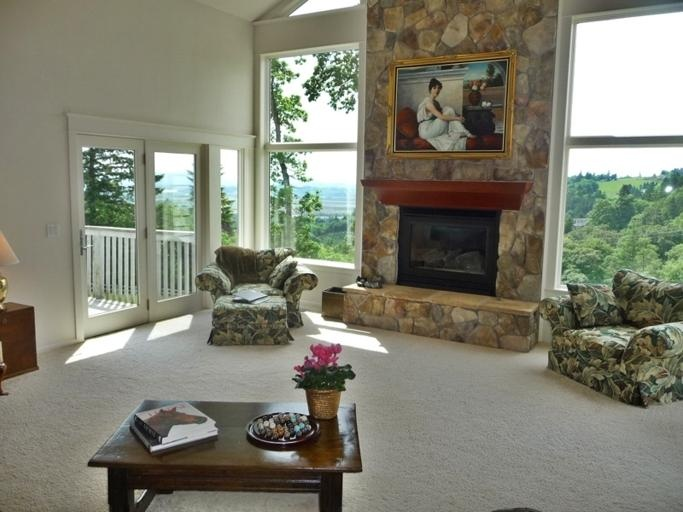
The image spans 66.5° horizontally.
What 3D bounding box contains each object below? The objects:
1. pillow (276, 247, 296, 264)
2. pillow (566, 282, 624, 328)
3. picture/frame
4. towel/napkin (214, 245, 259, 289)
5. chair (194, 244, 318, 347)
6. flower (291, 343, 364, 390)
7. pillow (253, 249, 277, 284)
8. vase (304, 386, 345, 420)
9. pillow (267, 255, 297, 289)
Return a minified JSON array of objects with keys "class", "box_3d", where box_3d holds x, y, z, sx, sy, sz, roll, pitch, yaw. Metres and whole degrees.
[{"class":"pillow","box_3d":[-0.790,-0.016,7.392,0.206,0.208,0.210,-1,-3,44]},{"class":"pillow","box_3d":[2.724,0.535,5.594,0.497,0.505,0.155,-10,-10,-8]},{"class":"picture/frame","box_3d":[1.476,-1.966,6.679,1.454,1.124,0.073,3,5,28]},{"class":"towel/napkin","box_3d":[-1.358,0.154,7.062,0.533,0.562,0.165,5,-3,-19]},{"class":"chair","box_3d":[-1.110,0.475,6.773,1.366,0.968,1.324,-1,13,-5]},{"class":"flower","box_3d":[-0.117,0.798,3.839,0.547,0.424,0.503,0,2,-6]},{"class":"pillow","box_3d":[-1.057,0.139,7.321,0.370,0.396,0.117,8,-11,-3]},{"class":"vase","box_3d":[-0.117,1.020,3.604,0.213,0.162,0.223,1,0,-8]},{"class":"pillow","box_3d":[-0.753,0.182,6.960,0.119,0.379,0.384,33,-36,-25]}]
